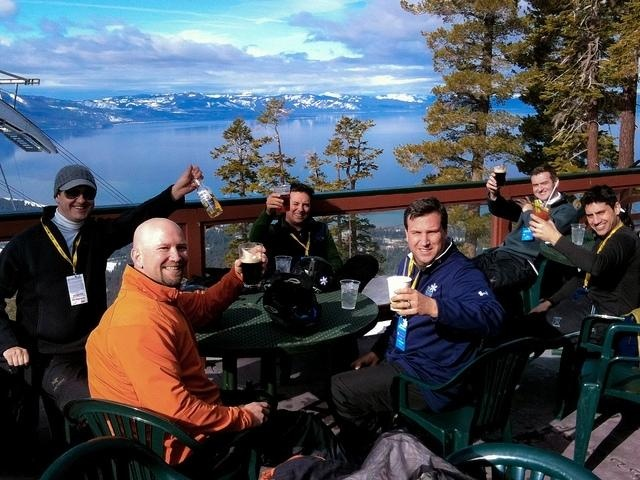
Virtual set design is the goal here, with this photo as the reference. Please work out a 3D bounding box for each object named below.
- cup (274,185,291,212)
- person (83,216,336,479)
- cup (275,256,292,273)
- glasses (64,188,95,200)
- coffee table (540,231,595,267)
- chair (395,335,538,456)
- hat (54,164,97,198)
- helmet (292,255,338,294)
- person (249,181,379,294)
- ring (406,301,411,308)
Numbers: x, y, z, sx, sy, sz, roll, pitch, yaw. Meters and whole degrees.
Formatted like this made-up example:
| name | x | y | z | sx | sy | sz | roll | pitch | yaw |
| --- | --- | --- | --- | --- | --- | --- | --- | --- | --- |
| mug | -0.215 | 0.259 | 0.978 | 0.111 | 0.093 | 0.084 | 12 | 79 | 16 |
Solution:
| name | x | y | z | sx | sy | sz | roll | pitch | yaw |
| --- | --- | --- | --- | --- | --- | --- | --- | --- | --- |
| cup | -0.311 | -0.360 | 4.217 | 0.137 | 0.193 | 0.286 | -1 | 11 | -4 |
| person | -0.524 | 0.317 | 2.898 | 1.440 | 1.424 | 1.187 | -14 | 20 | -25 |
| cup | -0.232 | 0.162 | 3.381 | 0.119 | 0.099 | 0.109 | 0 | 6 | 0 |
| glasses | -1.536 | -0.304 | 3.286 | 0.103 | 0.026 | 0.100 | -9 | -6 | 34 |
| coffee table | 1.959 | 0.115 | 4.109 | 0.431 | 0.087 | 0.415 | 4 | 24 | 27 |
| chair | 0.746 | 0.762 | 2.621 | 0.604 | 0.604 | 0.304 | -3 | 13 | -15 |
| hat | -1.616 | -0.422 | 3.381 | 0.228 | 0.137 | 0.307 | -7 | 9 | -38 |
| helmet | -0.002 | 0.235 | 3.385 | 0.303 | 0.227 | 0.215 | -19 | 13 | -9 |
| person | -0.149 | 0.058 | 4.404 | 1.183 | 0.922 | 0.681 | -5 | 4 | -22 |
| ring | 0.424 | 0.310 | 2.434 | 0.029 | 0.038 | 0.006 | -8 | 15 | -33 |
